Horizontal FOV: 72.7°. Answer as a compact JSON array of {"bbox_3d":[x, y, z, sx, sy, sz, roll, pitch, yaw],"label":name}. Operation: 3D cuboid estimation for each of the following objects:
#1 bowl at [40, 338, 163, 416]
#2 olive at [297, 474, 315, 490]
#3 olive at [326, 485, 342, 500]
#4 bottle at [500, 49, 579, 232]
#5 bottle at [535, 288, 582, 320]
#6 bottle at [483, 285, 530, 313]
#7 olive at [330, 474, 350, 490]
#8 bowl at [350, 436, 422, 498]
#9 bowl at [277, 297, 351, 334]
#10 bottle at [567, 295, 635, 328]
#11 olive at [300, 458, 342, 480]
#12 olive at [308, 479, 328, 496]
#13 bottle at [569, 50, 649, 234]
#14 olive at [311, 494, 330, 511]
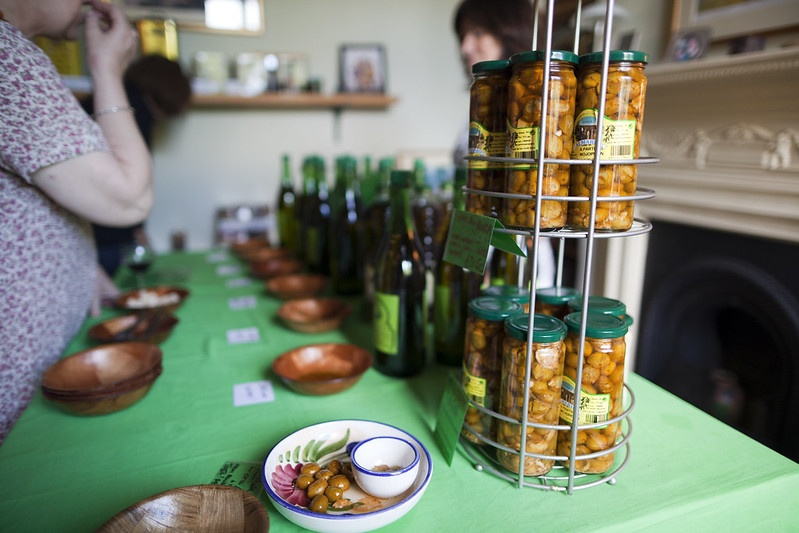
[{"bbox_3d":[-0.646,0.256,1.211,0.220,0.088,0.231,1,18,0],"label":"bowl"},{"bbox_3d":[-0.167,0.390,0.990,0.023,0.022,0.025,10,7,27],"label":"olive"},{"bbox_3d":[-0.114,0.402,0.969,0.022,0.018,0.022,4,-12,-26],"label":"olive"},{"bbox_3d":[0.259,-0.226,0.998,0.126,0.317,0.154,3,20,10],"label":"bottle"},{"bbox_3d":[0.339,0.066,1.160,0.074,0.076,0.074,6,12,31],"label":"bottle"},{"bbox_3d":[0.237,0.067,1.164,0.064,0.063,0.063,0,7,-8],"label":"bottle"},{"bbox_3d":[-0.106,0.391,0.987,0.023,0.016,0.030,12,-9,-4],"label":"olive"},{"bbox_3d":[-0.026,0.367,0.998,0.122,0.068,0.115,3,19,-1],"label":"bowl"},{"bbox_3d":[-0.233,0.111,1.499,0.126,0.029,0.123,1,17,0],"label":"bowl"},{"bbox_3d":[0.400,0.076,1.076,0.084,0.026,0.082,2,10,0],"label":"bottle"},{"bbox_3d":[-0.149,0.371,0.998,0.060,0.020,0.029,3,42,-6],"label":"olive"},{"bbox_3d":[-0.145,0.400,0.979,0.036,0.020,0.027,-2,19,-6],"label":"olive"},{"bbox_3d":[0.380,-0.221,0.985,0.133,0.320,0.174,6,20,16],"label":"bottle"},{"bbox_3d":[-0.142,0.413,0.955,0.021,0.014,0.025,14,40,-7],"label":"olive"}]
